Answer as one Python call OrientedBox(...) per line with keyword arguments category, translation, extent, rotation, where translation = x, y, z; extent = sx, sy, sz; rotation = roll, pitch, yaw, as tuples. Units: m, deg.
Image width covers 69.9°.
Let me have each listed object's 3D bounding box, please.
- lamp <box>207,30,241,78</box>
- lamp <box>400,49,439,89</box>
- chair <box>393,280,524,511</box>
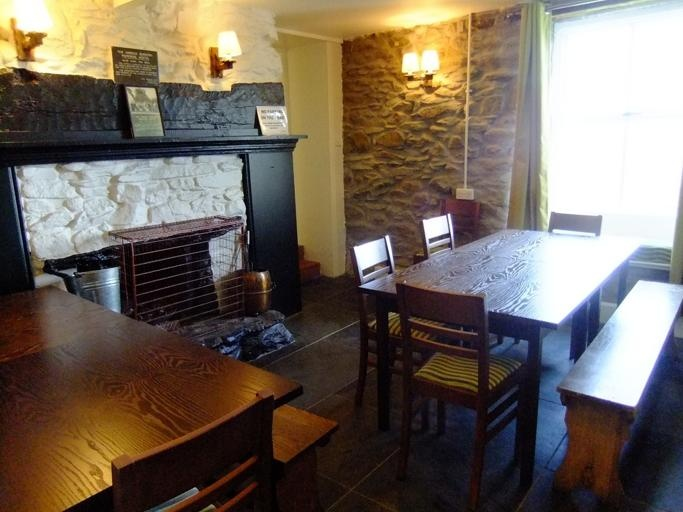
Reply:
OrientedBox(category="lamp", translation=(-0.902, -1.551, 3.829), extent=(0.234, 0.326, 0.156), rotation=(-3, 13, 9))
OrientedBox(category="lamp", translation=(0.766, -1.823, 4.703), extent=(0.439, 0.394, 0.263), rotation=(1, 13, 27))
OrientedBox(category="chair", translation=(0.595, 0.618, 2.461), extent=(0.519, 1.073, 0.565), rotation=(5, 19, 32))
